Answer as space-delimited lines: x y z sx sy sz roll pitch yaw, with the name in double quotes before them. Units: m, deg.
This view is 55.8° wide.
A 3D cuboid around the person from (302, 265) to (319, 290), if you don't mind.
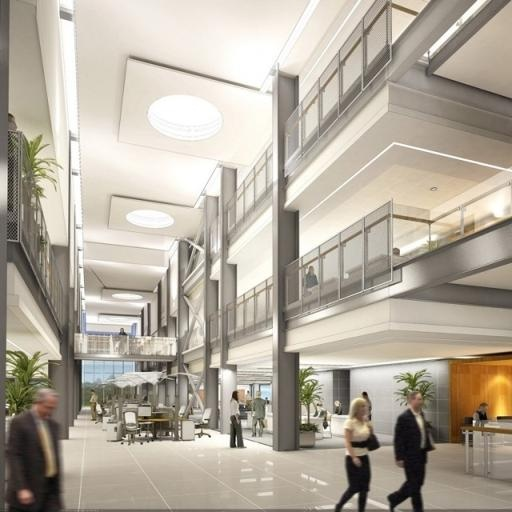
"person" 1.304 0.524 11.550 0.194 0.887 0.467 -2 -2 -21
